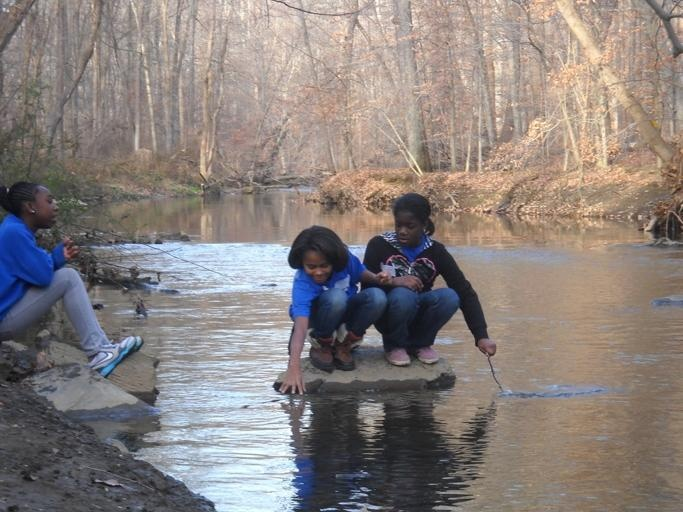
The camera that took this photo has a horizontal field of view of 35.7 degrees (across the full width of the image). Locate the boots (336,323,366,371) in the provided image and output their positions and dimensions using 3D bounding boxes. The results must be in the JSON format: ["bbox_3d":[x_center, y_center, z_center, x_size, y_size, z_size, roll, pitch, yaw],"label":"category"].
[{"bbox_3d":[0.046,0.849,9.713,0.215,0.276,0.452,2,26,-4],"label":"boots"}]

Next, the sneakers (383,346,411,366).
[{"bbox_3d":[0.533,0.929,9.707,0.131,0.093,0.261,-3,9,-26],"label":"sneakers"}]

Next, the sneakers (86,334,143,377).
[{"bbox_3d":[-1.981,0.883,9.542,0.621,0.259,0.207,-28,-23,-22],"label":"sneakers"}]

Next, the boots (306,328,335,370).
[{"bbox_3d":[-0.153,0.844,9.702,0.229,0.245,0.469,-4,25,-12],"label":"boots"}]
